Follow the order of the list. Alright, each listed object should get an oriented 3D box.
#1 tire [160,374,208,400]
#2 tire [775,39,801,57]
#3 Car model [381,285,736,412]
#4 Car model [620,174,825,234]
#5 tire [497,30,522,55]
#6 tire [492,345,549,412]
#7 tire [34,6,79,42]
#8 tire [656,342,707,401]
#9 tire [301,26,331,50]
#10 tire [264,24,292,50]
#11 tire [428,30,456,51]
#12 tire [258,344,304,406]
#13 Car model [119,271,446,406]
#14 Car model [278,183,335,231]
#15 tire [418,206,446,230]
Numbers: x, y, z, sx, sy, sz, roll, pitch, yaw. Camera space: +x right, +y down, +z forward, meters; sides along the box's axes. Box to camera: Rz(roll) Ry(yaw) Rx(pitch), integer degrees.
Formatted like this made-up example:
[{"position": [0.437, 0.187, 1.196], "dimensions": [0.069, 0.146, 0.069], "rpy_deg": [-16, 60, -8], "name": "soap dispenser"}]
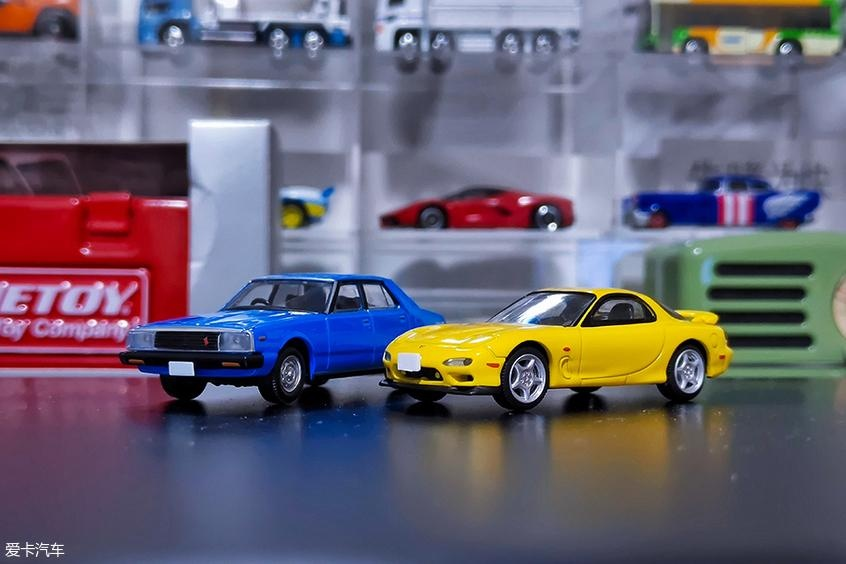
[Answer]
[{"position": [-3.533, 1.580, 17.927], "dimensions": [0.535, 0.391, 0.518], "rpy_deg": [2, 0, -29], "name": "tire"}, {"position": [7.985, -5.097, 26.228], "dimensions": [0.560, 0.339, 0.041], "rpy_deg": [-3, 8, -8], "name": "tire"}, {"position": [1.992, 1.066, 17.836], "dimensions": [4.179, 1.331, 2.061], "rpy_deg": [1, -4, -19], "name": "Car model"}, {"position": [6.422, -1.554, 25.246], "dimensions": [3.618, 1.006, 1.474], "rpy_deg": [1, 3, -1], "name": "Car model"}, {"position": [1.897, -5.105, 25.581], "dimensions": [0.370, 0.165, 0.577], "rpy_deg": [3, -38, -1], "name": "tire"}, {"position": [1.574, 1.376, 17.162], "dimensions": [0.359, 0.870, 0.896], "rpy_deg": [6, -2, -42], "name": "tire"}, {"position": [-7.492, -5.350, 24.859], "dimensions": [0.701, 0.672, 0.209], "rpy_deg": [-5, 14, -32], "name": "tire"}, {"position": [3.866, 1.314, 18.017], "dimensions": [0.792, 0.760, 0.295], "rpy_deg": [14, -12, -34], "name": "tire"}, {"position": [-2.268, -5.245, 25.821], "dimensions": [0.424, 0.479, 0.269], "rpy_deg": [2, 14, -6], "name": "tire"}, {"position": [-3.012, -5.157, 25.480], "dimensions": [0.532, 0.494, 0.182], "rpy_deg": [-3, 8, -6], "name": "tire"}, {"position": [0.462, -5.144, 25.616], "dimensions": [0.425, 0.412, 0.134], "rpy_deg": [2, -5, -4], "name": "tire"}, {"position": [-2.017, 1.308, 17.386], "dimensions": [0.351, 0.894, 0.867], "rpy_deg": [4, -3, 35], "name": "tire"}, {"position": [-2.072, 0.795, 17.901], "dimensions": [1.942, 1.303, 4.058], "rpy_deg": [-3, -3, 36], "name": "Car model"}, {"position": [-2.325, -1.581, 25.483], "dimensions": [1.194, 0.771, 0.855], "rpy_deg": [8, 2, 26], "name": "Car model"}, {"position": [0.233, -1.341, 24.741], "dimensions": [0.482, 0.465, 0.181], "rpy_deg": [-3, 1, 0], "name": "tire"}]
